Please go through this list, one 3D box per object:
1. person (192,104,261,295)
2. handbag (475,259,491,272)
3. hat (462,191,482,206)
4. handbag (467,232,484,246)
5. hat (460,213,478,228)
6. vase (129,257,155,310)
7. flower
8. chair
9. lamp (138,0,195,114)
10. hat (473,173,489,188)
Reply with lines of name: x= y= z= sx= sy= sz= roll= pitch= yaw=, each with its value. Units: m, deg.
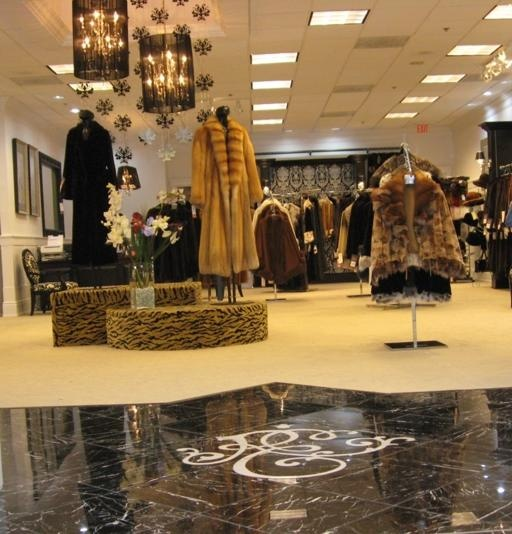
person: x=-0.273 y=-0.689 z=4.486 sx=0.653 sy=1.680 sz=0.322 roll=-3 pitch=-2 yaw=0
handbag: x=4.752 y=-0.032 z=9.861 sx=0.267 sy=0.237 sz=0.121 roll=-3 pitch=-7 yaw=28
hat: x=4.550 y=-1.412 z=9.877 sx=0.353 sy=0.192 sz=0.410 roll=-3 pitch=-2 yaw=24
handbag: x=4.536 y=-0.588 z=9.811 sx=0.287 sy=0.254 sz=0.277 roll=-4 pitch=9 yaw=-7
hat: x=4.427 y=-0.973 z=9.865 sx=0.301 sy=0.242 sz=0.241 roll=-1 pitch=4 yaw=-11
vase: x=-1.090 y=0.167 z=4.525 sx=0.219 sy=0.461 sz=0.278 roll=-2 pitch=-2 yaw=-15
flower: x=-1.133 y=-0.268 z=4.770 sx=0.703 sy=0.918 sz=0.523 roll=1 pitch=-1 yaw=-3
chair: x=-3.759 y=0.244 z=8.614 sx=0.862 sy=1.041 sz=0.741 roll=-1 pitch=3 yaw=-5
lamp: x=-0.934 y=-2.017 z=4.943 sx=0.466 sy=0.708 sz=0.523 roll=-19 pitch=27 yaw=-36
hat: x=4.476 y=-1.682 z=9.392 sx=0.272 sy=0.366 sz=0.490 roll=-4 pitch=-2 yaw=28
